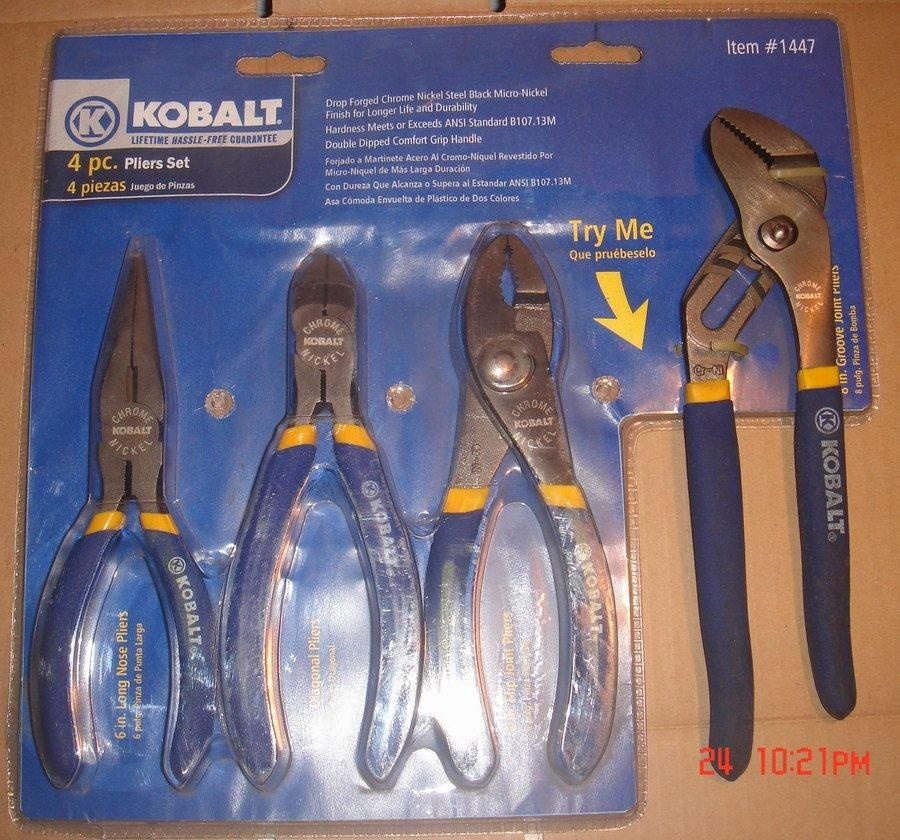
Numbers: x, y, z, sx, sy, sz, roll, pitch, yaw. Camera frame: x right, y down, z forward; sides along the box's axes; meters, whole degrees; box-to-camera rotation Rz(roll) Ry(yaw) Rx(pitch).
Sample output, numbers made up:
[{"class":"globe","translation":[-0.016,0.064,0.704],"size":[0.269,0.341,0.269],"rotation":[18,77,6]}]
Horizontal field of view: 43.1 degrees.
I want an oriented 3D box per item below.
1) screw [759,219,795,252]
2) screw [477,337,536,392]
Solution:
[{"class":"screw","translation":[0.666,-0.371,2.315],"size":[0.056,0.070,0.017],"rotation":[-10,3,10]},{"class":"screw","translation":[0.108,-0.104,2.245],"size":[0.083,0.109,0.022],"rotation":[2,-6,0]}]
